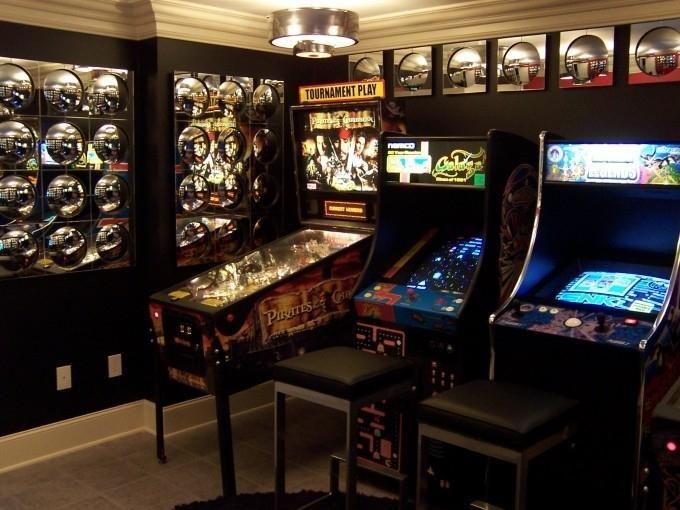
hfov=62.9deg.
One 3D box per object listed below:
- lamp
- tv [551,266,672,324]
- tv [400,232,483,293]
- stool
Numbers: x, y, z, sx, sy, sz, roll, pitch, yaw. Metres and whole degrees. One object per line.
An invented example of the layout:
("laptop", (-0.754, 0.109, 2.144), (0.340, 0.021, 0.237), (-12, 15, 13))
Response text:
("lamp", (-0.135, -1.379, 3.413), (0.373, 0.154, 0.368), (-2, 4, -32))
("tv", (1.422, 0.181, 2.848), (0.403, 0.132, 0.518), (-10, 14, -44))
("tv", (0.643, 0.042, 3.429), (0.405, 0.271, 0.482), (3, 11, 20))
("stool", (0.482, 0.877, 2.870), (1.013, 0.706, 0.393), (6, 8, 43))
